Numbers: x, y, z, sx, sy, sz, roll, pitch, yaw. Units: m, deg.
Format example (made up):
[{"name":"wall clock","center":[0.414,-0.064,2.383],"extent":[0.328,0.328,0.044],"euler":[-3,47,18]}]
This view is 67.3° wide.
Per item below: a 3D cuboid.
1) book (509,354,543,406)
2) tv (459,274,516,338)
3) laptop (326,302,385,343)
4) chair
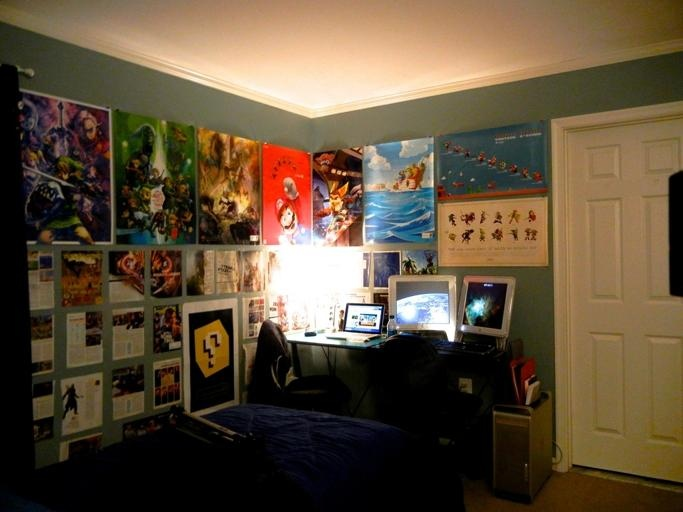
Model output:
[{"name":"book","center":[1.421,0.982,3.997],"extent":[0.312,0.433,0.130],"euler":[5,-12,-40]},{"name":"tv","center":[1.244,0.436,4.342],"extent":[0.043,0.623,0.507],"euler":[15,-11,-43]},{"name":"laptop","center":[0.151,0.629,4.822],"extent":[0.385,0.301,0.335],"euler":[-1,-3,32]},{"name":"chair","center":[-0.342,0.970,4.759],"extent":[0.761,1.054,0.746],"euler":[-1,-5,7]}]
